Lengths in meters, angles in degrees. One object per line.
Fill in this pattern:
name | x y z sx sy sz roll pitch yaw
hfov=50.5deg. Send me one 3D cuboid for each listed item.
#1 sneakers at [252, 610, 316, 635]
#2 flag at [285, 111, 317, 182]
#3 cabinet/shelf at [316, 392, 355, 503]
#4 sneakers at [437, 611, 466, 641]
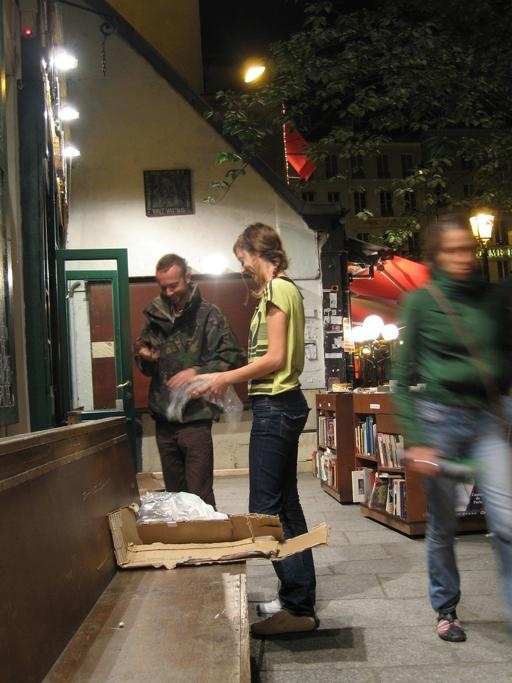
sneakers | 0.136 1.395 2.737 0.354 0.133 0.125 1 -13 -1
flag | 0.839 -3.771 10.780 0.626 0.961 1.062 -3 -7 5
cabinet/shelf | 0.965 1.302 6.608 0.415 1.276 1.245 0 -9 0
sneakers | 0.921 1.365 2.593 0.073 0.072 0.184 -3 -15 2
